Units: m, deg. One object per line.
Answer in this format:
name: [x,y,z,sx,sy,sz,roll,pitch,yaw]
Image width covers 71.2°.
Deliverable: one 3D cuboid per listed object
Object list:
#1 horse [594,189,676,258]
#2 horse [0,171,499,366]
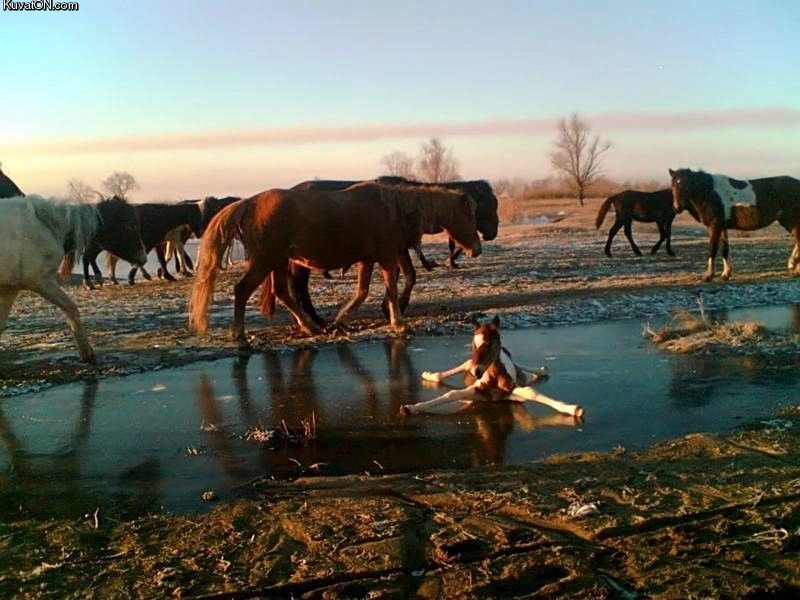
horse: [10.100,-3.391,23.002,4.753,3.172,1.060,-2,-4,-10]
horse: [-1.072,-0.809,10.397,5.367,2.775,1.079,-6,10,-28]
